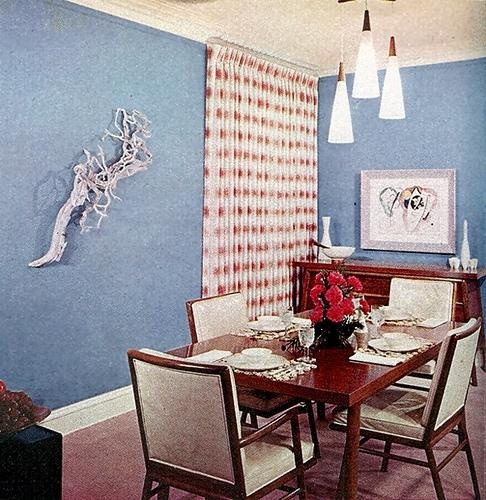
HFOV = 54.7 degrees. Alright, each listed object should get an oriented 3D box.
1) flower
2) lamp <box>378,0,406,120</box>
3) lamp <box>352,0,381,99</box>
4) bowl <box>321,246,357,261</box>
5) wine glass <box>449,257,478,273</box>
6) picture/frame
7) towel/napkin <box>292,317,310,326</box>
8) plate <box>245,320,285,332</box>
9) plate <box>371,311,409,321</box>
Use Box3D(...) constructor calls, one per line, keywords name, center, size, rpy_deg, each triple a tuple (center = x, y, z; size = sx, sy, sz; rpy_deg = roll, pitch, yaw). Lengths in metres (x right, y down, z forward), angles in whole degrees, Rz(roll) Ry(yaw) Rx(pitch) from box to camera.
Box3D(name="flower", center=(0.447, 0.202, 2.215), size=(0.245, 0.213, 0.273), rpy_deg=(8, 13, 17))
Box3D(name="lamp", center=(0.782, -0.898, 2.407), size=(0.120, 0.450, 0.267), rpy_deg=(4, 9, 16))
Box3D(name="lamp", center=(0.605, -0.954, 2.265), size=(0.116, 0.448, 0.208), rpy_deg=(3, 9, 12))
Box3D(name="bowl", center=(0.920, 0.026, 4.530), size=(0.312, 0.151, 0.364), rpy_deg=(3, 8, 13))
Box3D(name="wine glass", center=(1.808, 0.121, 3.823), size=(0.199, 0.073, 0.134), rpy_deg=(1, 0, -5))
Box3D(name="picture/frame", center=(1.549, -0.353, 4.282), size=(0.879, 0.675, 0.038), rpy_deg=(2, 3, 35))
Box3D(name="towel/napkin", center=(0.316, 0.387, 2.543), size=(0.118, 0.025, 0.109), rpy_deg=(4, 6, 36))
Box3D(name="plate", center=(0.124, 0.398, 2.446), size=(0.112, 0.015, 0.114), rpy_deg=(4, 8, 42))
Box3D(name="plate", center=(0.776, 0.349, 2.485), size=(0.124, 0.016, 0.116), rpy_deg=(-1, 6, -8))
